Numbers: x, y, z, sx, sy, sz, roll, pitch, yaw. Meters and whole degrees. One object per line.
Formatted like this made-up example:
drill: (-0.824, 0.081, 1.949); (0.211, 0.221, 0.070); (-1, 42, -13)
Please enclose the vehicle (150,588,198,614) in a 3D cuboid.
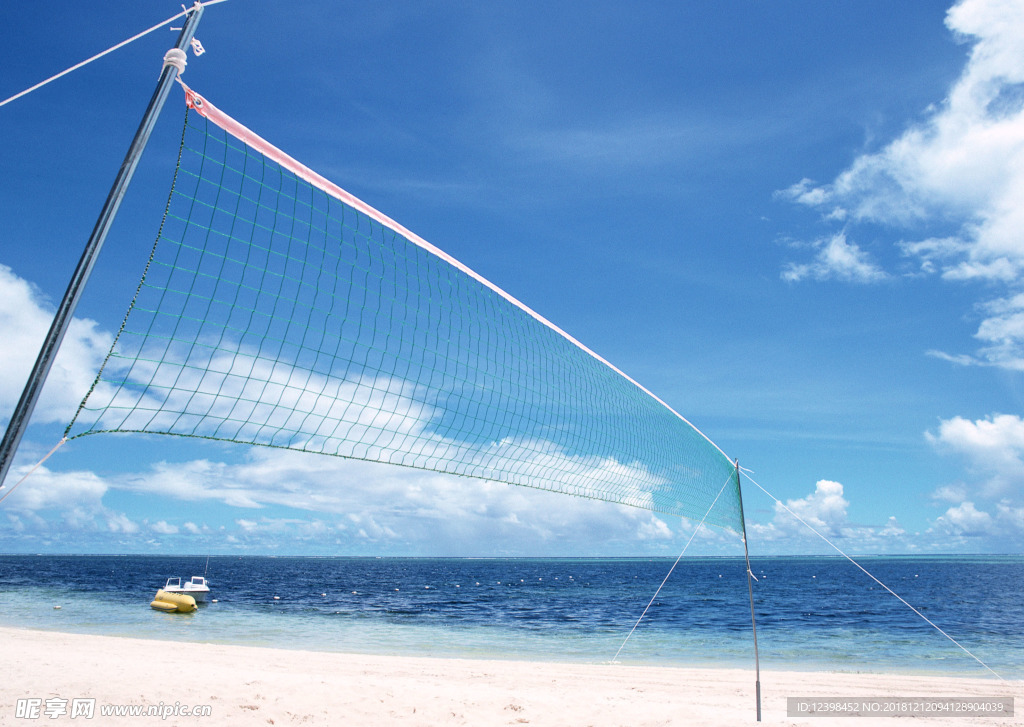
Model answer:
vehicle: (-15.717, 11.367, 34.711); (2.351, 0.820, 1.087); (-1, -4, 31)
